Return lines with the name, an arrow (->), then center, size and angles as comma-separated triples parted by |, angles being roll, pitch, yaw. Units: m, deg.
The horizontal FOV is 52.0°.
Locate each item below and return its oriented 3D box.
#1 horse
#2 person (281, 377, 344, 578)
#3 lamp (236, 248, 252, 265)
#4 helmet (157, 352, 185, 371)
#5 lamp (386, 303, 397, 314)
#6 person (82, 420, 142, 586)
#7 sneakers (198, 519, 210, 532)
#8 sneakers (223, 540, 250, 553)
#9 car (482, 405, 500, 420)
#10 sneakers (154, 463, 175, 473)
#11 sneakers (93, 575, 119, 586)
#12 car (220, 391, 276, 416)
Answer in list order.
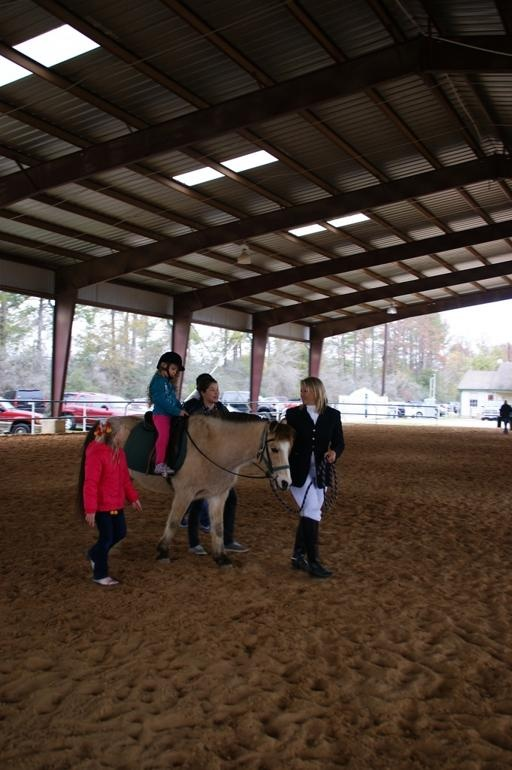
horse -> -0.618, 0.821, 4.244 | 1.859, 1.163, 0.491 | 1, -4, 28
person -> 0.408, 0.689, 3.879 | 0.451, 1.440, 0.490 | 4, 1, 3
lamp -> -0.330, -3.553, 14.387 | 0.313, 0.474, 0.779 | 4, 1, 0
helmet -> -0.708, -0.194, 4.277 | 0.202, 0.117, 0.143 | 4, -4, 19
lamp -> 6.383, -3.673, 24.883 | 0.491, 0.517, 0.507 | -6, -12, 37
person -> -1.013, 0.812, 3.628 | 0.409, 1.014, 0.580 | 4, 1, -18
sneakers -> -0.511, 1.385, 5.212 | 0.101, 0.128, 0.288 | 1, -9, -10
sneakers -> -0.172, 1.420, 4.643 | 0.221, 0.089, 0.080 | -1, -1, 8
car -> 17.230, 2.022, 38.513 | 1.020, 1.148, 7.634 | 4, 1, 24
sneakers -> -0.716, 0.636, 4.046 | 0.129, 0.053, 0.066 | -5, -5, 38
sneakers -> -1.041, 1.330, 3.614 | 0.163, 0.060, 0.061 | -3, 2, 13
car -> -0.437, 0.814, 24.075 | 2.487, 1.209, 1.239 | -1, -1, 13
